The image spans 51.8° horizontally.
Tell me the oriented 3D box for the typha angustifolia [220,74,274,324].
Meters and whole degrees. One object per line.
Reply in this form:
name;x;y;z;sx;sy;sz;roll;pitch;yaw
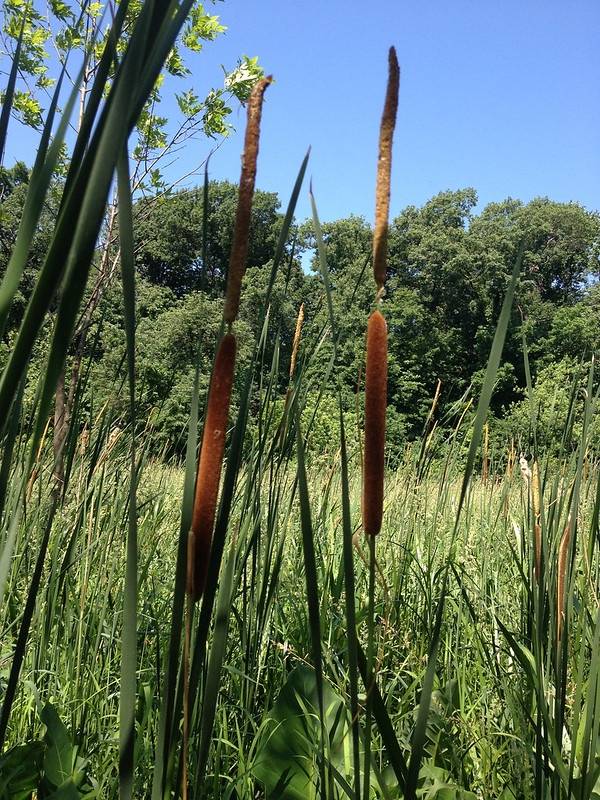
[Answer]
typha angustifolia;-0.056;-0.223;0.663;0.021;0.297;0.154;7;-7;-8

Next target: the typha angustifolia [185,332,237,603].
typha angustifolia;-0.099;0.076;0.681;0.025;0.294;0.089;7;-6;-8
